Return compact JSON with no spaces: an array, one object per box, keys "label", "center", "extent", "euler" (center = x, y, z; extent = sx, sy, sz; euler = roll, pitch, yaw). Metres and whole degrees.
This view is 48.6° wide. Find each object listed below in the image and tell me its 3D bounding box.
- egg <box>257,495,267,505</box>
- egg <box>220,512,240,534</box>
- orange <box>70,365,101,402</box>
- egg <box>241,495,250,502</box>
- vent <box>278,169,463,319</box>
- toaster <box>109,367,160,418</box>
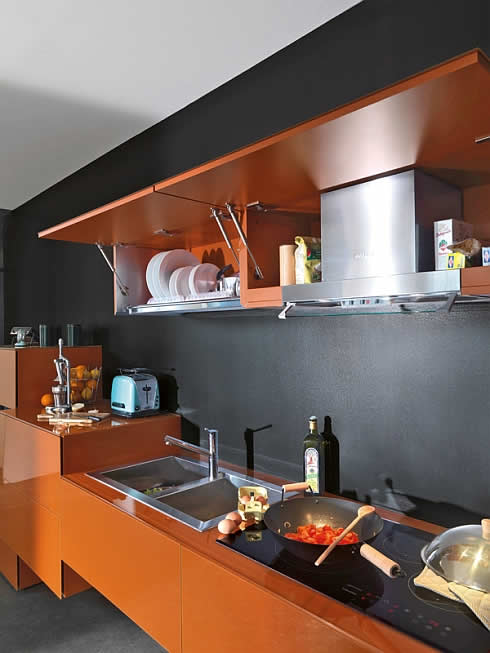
[{"label":"egg","center":[0.049,0.483,1.505],"extent":[0.025,0.017,0.029],"euler":[8,-10,-44]},{"label":"egg","center":[-0.040,0.522,1.434],"extent":[0.034,0.032,0.065],"euler":[-14,2,8]},{"label":"orange","center":[-0.842,0.304,2.887],"extent":[0.192,0.162,0.179],"euler":[0,-11,-4]},{"label":"egg","center":[0.001,0.477,1.499],"extent":[0.024,0.009,0.021],"euler":[-9,7,0]},{"label":"vent","center":[0.369,-0.202,1.439],"extent":[0.475,0.307,0.276],"euler":[-3,2,43]},{"label":"toaster","center":[-0.520,0.321,2.544],"extent":[0.195,0.170,0.202],"euler":[1,1,28]}]
